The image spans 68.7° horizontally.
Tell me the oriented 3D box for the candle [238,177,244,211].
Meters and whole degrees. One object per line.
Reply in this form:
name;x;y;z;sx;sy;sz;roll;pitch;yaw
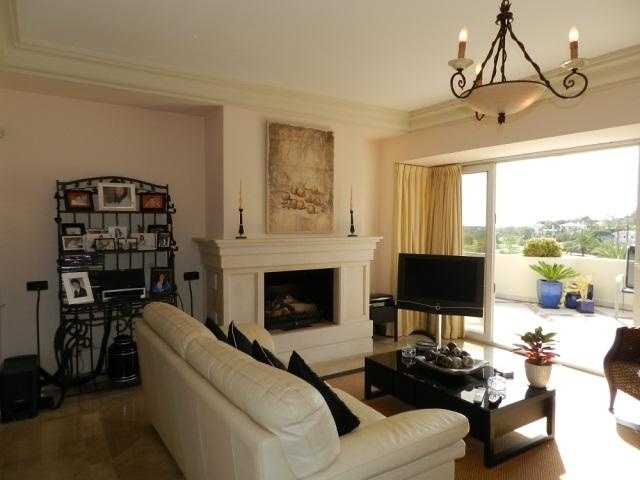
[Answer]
candle;-0.907;-0.526;5.357;0.042;0.338;0.126;-1;3;-2

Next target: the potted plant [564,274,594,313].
potted plant;4.310;0.892;7.783;0.546;0.602;0.404;2;-1;-35

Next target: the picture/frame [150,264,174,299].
picture/frame;-1.737;0.475;5.134;0.338;0.496;0.046;1;-9;-24

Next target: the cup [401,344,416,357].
cup;0.889;1.094;4.635;0.104;0.069;0.104;-1;-2;0

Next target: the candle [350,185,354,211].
candle;0.424;-0.556;6.194;0.065;0.307;0.042;-3;3;-35

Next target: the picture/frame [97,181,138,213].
picture/frame;-2.178;-0.454;4.987;0.317;0.290;0.034;-3;-2;-33

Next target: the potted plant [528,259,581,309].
potted plant;4.031;0.775;8.256;0.678;0.754;0.733;2;2;-1

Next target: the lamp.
lamp;1.748;-1.552;4.001;0.962;1.050;0.785;-2;2;-21

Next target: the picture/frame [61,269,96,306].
picture/frame;-2.436;0.484;4.686;0.329;0.458;0.032;-3;-9;-43

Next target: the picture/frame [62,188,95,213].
picture/frame;-2.514;-0.408;4.861;0.256;0.240;0.181;-3;3;-30
